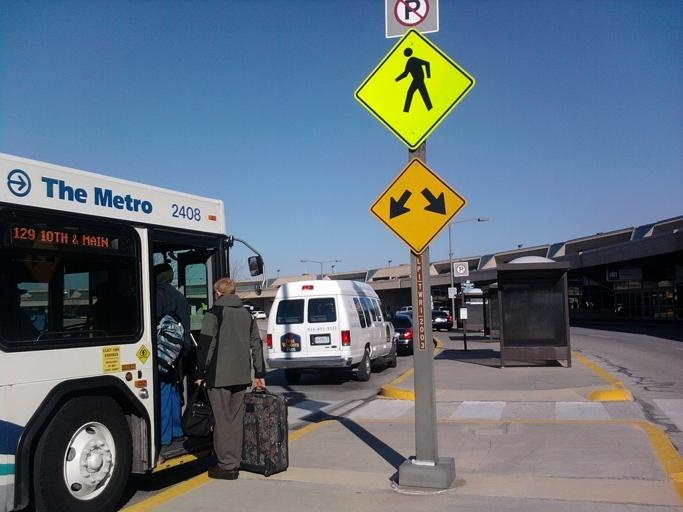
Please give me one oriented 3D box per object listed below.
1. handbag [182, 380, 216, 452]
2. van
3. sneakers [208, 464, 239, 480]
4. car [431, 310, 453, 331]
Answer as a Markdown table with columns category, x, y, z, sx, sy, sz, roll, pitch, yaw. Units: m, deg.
| category | x | y | z | sx | sy | sz | roll | pitch | yaw |
| --- | --- | --- | --- | --- | --- | --- | --- | --- | --- |
| handbag | -1.825 | 1.955 | 8.117 | 0.404 | 0.958 | 0.331 | 7 | -41 | -13 |
| van | -0.149 | 1.805 | 16.525 | 1.851 | 1.918 | 3.772 | -3 | -3 | 24 |
| sneakers | -1.419 | 2.587 | 7.618 | 0.352 | 0.162 | 0.145 | 3 | -1 | 34 |
| car | 6.801 | 4.568 | 43.207 | 1.533 | 1.213 | 3.506 | 0 | 1 | 7 |
